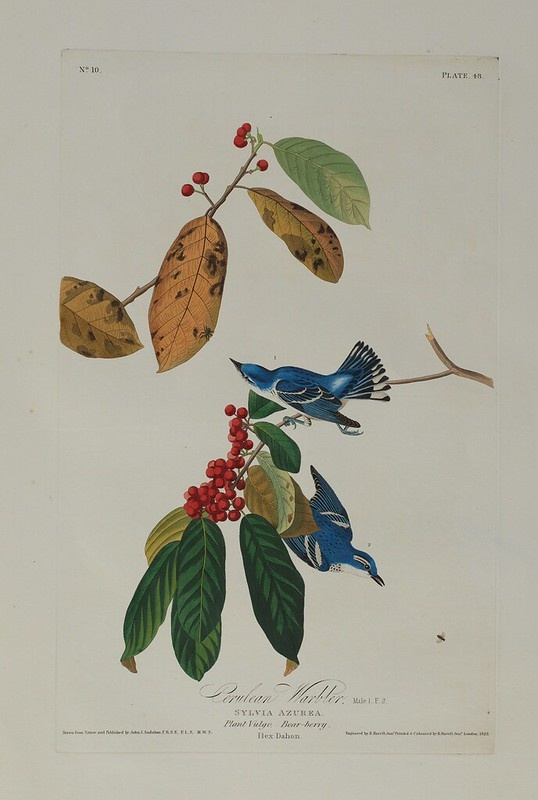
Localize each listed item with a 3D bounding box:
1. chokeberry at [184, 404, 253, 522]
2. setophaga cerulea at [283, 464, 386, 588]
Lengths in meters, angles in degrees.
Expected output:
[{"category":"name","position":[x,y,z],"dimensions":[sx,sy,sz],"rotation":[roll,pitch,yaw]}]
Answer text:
[{"category":"chokeberry","position":[-0.070,0.104,2.419],"dimensions":[0.090,0.045,0.182],"rotation":[20,92,13]},{"category":"setophaga cerulea","position":[0.082,0.217,2.405],"dimensions":[0.100,0.032,0.204],"rotation":[-33,80,-10]}]
